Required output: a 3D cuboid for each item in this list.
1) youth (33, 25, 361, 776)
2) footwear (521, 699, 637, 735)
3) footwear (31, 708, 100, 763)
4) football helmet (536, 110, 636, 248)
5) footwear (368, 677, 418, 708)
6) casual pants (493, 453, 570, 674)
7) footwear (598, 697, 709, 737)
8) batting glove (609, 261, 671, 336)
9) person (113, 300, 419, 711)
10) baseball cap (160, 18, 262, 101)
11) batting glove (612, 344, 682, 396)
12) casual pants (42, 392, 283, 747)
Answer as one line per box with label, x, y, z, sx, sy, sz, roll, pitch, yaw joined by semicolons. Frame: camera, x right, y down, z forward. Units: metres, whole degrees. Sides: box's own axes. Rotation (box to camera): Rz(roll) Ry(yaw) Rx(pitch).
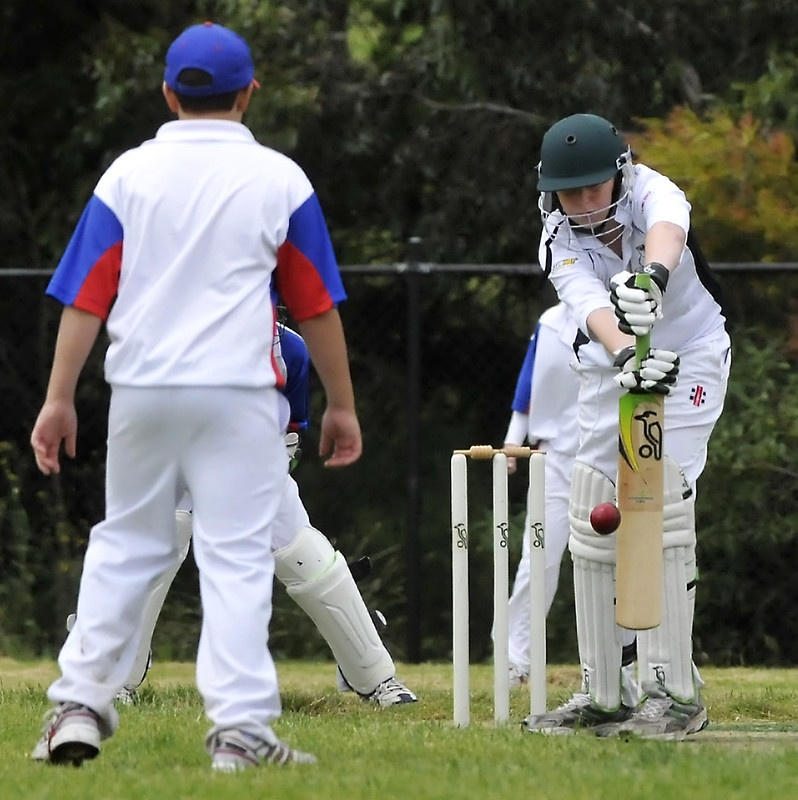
youth;-0.599;-0.026;4.313;0.808;2.115;0.577;0;-6;9
footwear;0.553;0.998;4.772;0.365;0.149;0.127;0;-10;-6
footwear;-0.940;0.923;4.282;0.120;0.138;0.331;4;-20;-22
football helmet;0.609;-0.666;4.775;0.298;0.398;0.386;-2;41;21
footwear;-0.018;1.067;5.553;0.172;0.081;0.086;-1;3;12
casual pants;0.596;0.666;6.246;0.234;1.176;0.198;7;-7;-23
footwear;0.798;0.991;4.707;0.343;0.160;0.132;-1;2;-11
batting glove;0.686;-0.279;4.352;0.105;0.202;0.152;11;-20;-43
person;-0.559;0.359;5.752;1.163;1.928;0.759;4;-41;-7
baseball cap;-0.539;-1.024;4.420;0.284;0.179;0.434;0;24;1
batting glove;0.714;-0.073;4.365;0.165;0.133;0.092;8;6;13
casual pants;-0.645;0.277;4.112;0.659;1.453;0.329;3;21;-1
